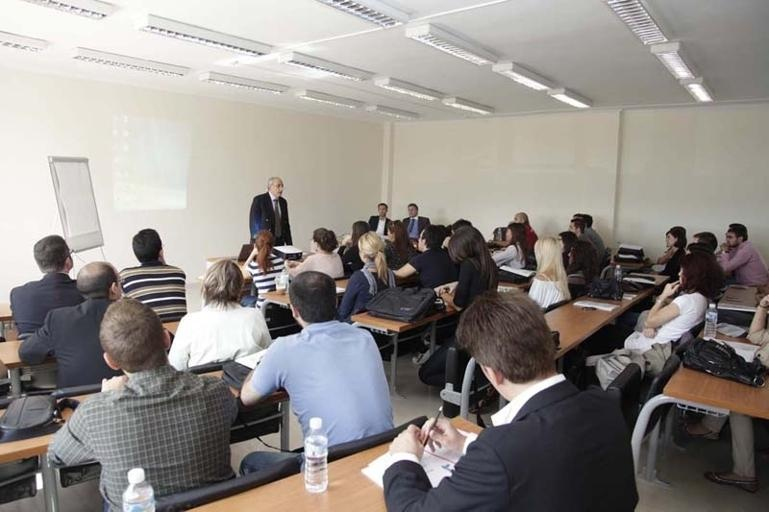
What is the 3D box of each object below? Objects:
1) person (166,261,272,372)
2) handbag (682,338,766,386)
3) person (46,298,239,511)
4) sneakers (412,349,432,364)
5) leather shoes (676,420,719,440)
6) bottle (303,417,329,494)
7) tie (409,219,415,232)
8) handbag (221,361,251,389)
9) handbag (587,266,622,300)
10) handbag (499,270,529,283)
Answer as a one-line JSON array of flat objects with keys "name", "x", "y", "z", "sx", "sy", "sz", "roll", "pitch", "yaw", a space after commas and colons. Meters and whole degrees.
[{"name": "person", "x": -1.164, "y": 0.505, "z": 3.532, "sx": 0.713, "sy": 0.995, "sz": 0.572, "roll": -1, "pitch": 20, "yaw": -27}, {"name": "handbag", "x": 2.345, "y": 0.733, "z": 3.369, "sx": 0.330, "sy": 0.114, "sz": 0.287, "roll": 11, "pitch": 12, "yaw": 41}, {"name": "person", "x": -1.164, "y": 0.762, "z": 2.391, "sx": 0.743, "sy": 1.022, "sz": 0.419, "roll": 0, "pitch": 9, "yaw": 17}, {"name": "sneakers", "x": 0.433, "y": 1.161, "z": 5.672, "sx": 0.116, "sy": 0.127, "sz": 0.322, "roll": -4, "pitch": 0, "yaw": 33}, {"name": "leather shoes", "x": 2.680, "y": 1.525, "z": 4.240, "sx": 0.374, "sy": 0.104, "sz": 0.152, "roll": 4, "pitch": 46, "yaw": 24}, {"name": "bottle", "x": -0.345, "y": 0.924, "z": 2.391, "sx": 0.125, "sy": 0.304, "sz": 0.382, "roll": -4, "pitch": 8, "yaw": -9}, {"name": "tie", "x": 0.628, "y": -0.667, "z": 10.656, "sx": 0.147, "sy": 0.256, "sz": 0.075, "roll": 5, "pitch": -2, "yaw": 0}, {"name": "handbag", "x": -0.928, "y": 0.734, "z": 3.036, "sx": 0.161, "sy": 0.062, "sz": 0.127, "roll": 13, "pitch": 21, "yaw": 28}, {"name": "handbag", "x": 2.519, "y": 0.299, "z": 5.426, "sx": 0.370, "sy": 0.191, "sz": 0.477, "roll": 1, "pitch": 24, "yaw": 36}, {"name": "handbag", "x": 1.586, "y": 0.262, "z": 5.959, "sx": 0.226, "sy": 0.070, "sz": 0.227, "roll": 0, "pitch": 4, "yaw": -35}]
